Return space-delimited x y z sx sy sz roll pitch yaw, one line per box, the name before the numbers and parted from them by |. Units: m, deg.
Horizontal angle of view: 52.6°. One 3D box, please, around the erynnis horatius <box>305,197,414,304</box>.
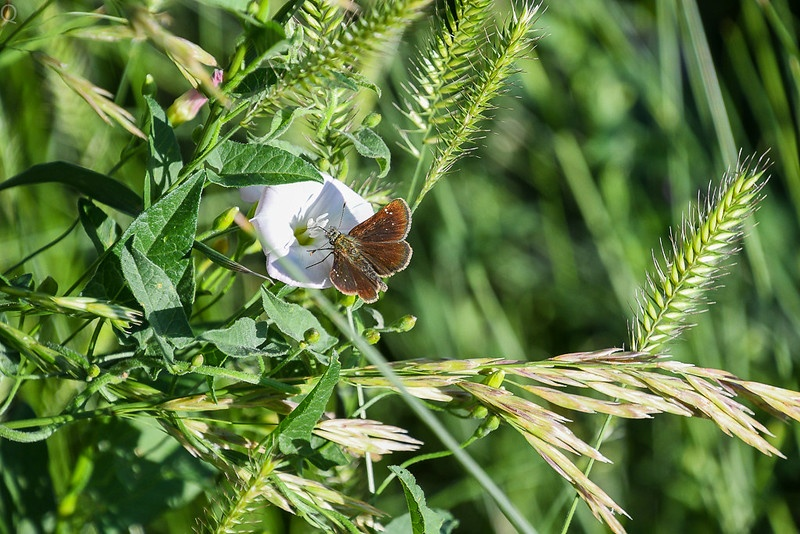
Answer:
erynnis horatius | -0.043 0.012 1.330 0.162 0.091 0.189 43 54 -10
